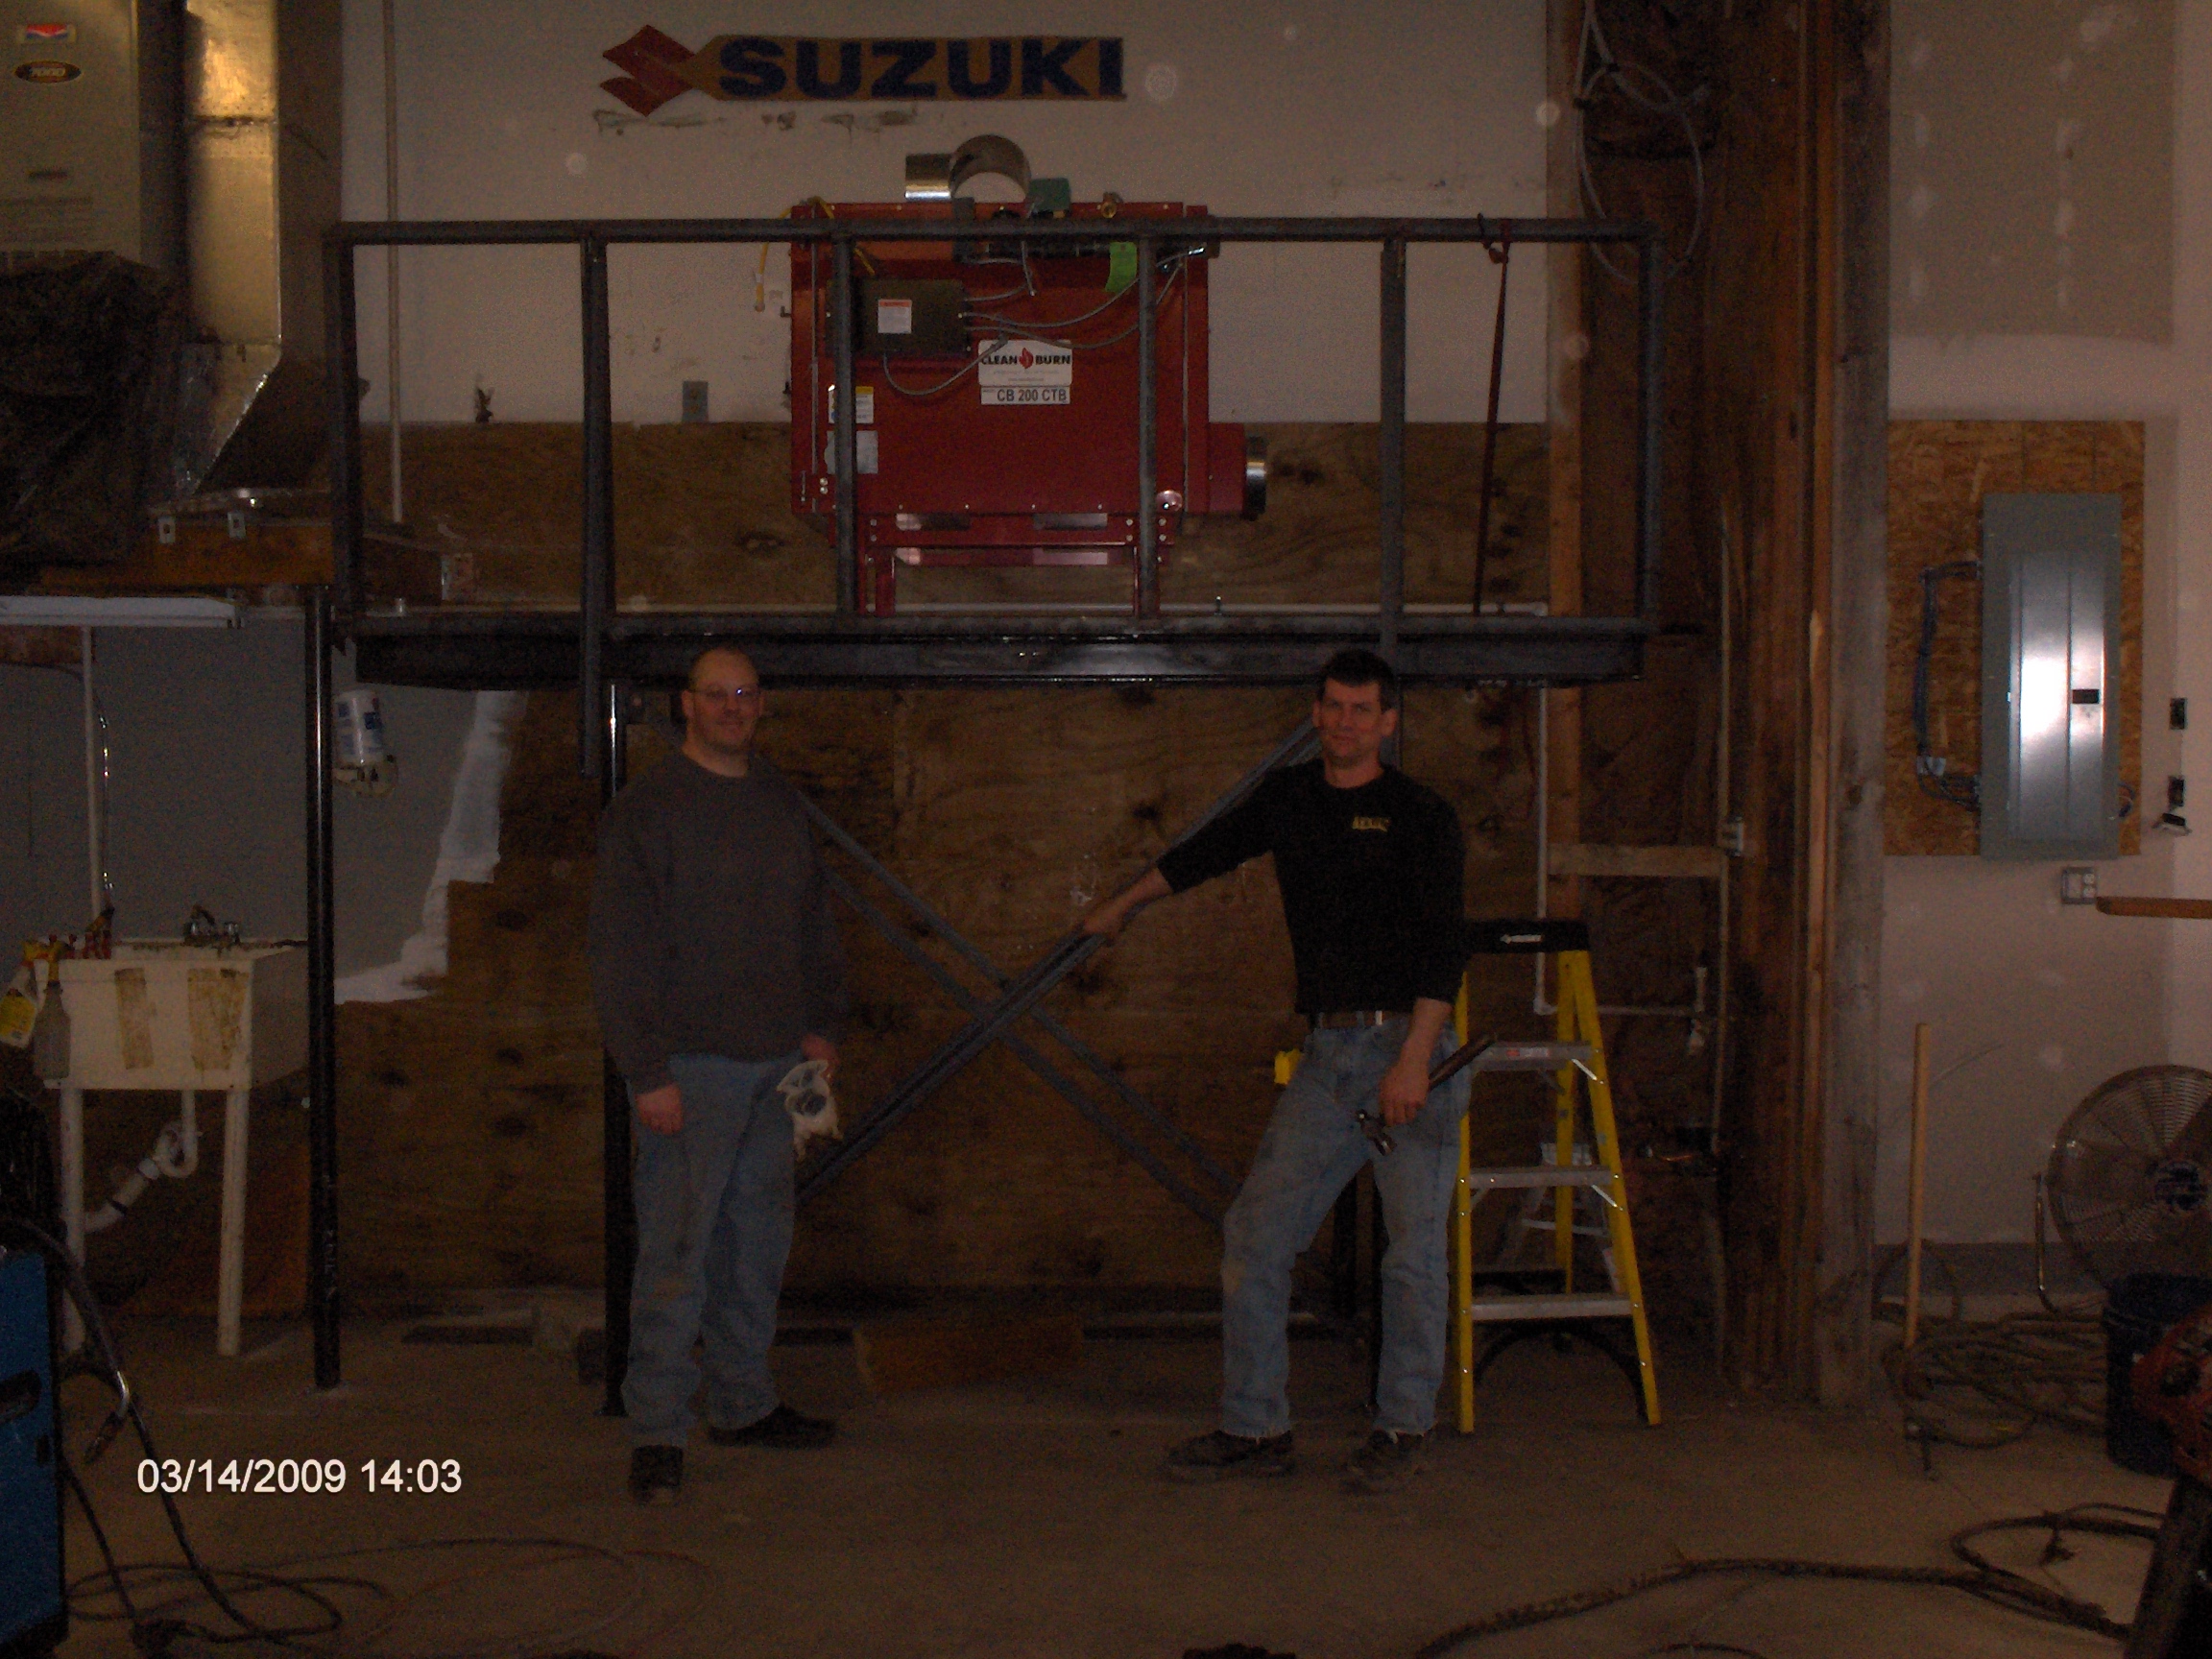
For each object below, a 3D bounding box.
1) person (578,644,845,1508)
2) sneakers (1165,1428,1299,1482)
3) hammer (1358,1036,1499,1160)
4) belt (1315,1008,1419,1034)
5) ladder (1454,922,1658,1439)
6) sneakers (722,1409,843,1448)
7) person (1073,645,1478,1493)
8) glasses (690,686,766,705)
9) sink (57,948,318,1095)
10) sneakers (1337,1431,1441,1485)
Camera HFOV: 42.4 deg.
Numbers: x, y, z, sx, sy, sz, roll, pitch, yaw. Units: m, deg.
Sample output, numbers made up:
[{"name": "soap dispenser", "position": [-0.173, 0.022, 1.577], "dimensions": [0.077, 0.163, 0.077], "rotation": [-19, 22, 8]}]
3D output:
[{"name": "person", "position": [-1.315, 0.801, 9.518], "dimensions": [0.799, 2.779, 0.310], "rotation": [-1, 4, -35]}, {"name": "sneakers", "position": [0.433, 2.081, 9.611], "dimensions": [0.405, 0.199, 0.166], "rotation": [3, 2, 0]}, {"name": "hammer", "position": [1.073, 0.873, 9.520], "dimensions": [0.280, 0.505, 0.088], "rotation": [45, -13, -4]}, {"name": "belt", "position": [0.854, 0.637, 9.428], "dimensions": [0.294, 0.072, 0.048], "rotation": [3, 4, 11]}, {"name": "ladder", "position": [1.670, 1.182, 10.482], "dimensions": [0.771, 1.742, 1.477], "rotation": [2, 4, 8]}, {"name": "sneakers", "position": [-1.097, 2.060, 9.725], "dimensions": [0.397, 0.165, 0.144], "rotation": [-1, -3, -3]}, {"name": "person", "position": [0.728, 0.773, 9.531], "dimensions": [0.937, 2.742, 0.579], "rotation": [2, 3, 6]}, {"name": "glasses", "position": [-1.263, -0.440, 9.481], "dimensions": [0.207, 0.058, 0.079], "rotation": [1, 4, -10]}, {"name": "sink", "position": [-3.488, 0.740, 10.617], "dimensions": [0.592, 0.385, 0.600], "rotation": [-1, -2, -4]}, {"name": "sneakers", "position": [0.925, 2.100, 9.488], "dimensions": [0.274, 0.133, 0.127], "rotation": [7, -7, -41]}]
